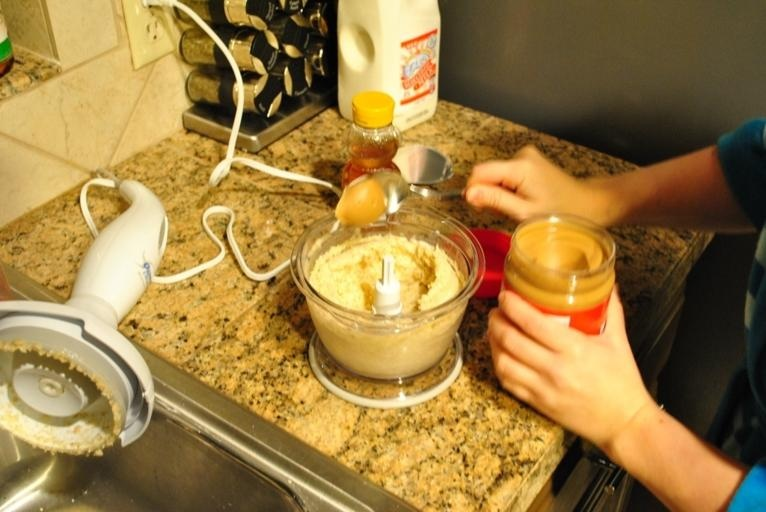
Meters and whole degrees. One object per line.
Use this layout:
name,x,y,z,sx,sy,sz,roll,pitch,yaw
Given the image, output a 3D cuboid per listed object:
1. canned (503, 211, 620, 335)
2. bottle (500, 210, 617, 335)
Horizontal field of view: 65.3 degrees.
canned,0.245,0.030,0.874,0.142,0.147,0.145,29,48,31
bottle,0.245,0.032,0.875,0.142,0.144,0.145,31,49,33
